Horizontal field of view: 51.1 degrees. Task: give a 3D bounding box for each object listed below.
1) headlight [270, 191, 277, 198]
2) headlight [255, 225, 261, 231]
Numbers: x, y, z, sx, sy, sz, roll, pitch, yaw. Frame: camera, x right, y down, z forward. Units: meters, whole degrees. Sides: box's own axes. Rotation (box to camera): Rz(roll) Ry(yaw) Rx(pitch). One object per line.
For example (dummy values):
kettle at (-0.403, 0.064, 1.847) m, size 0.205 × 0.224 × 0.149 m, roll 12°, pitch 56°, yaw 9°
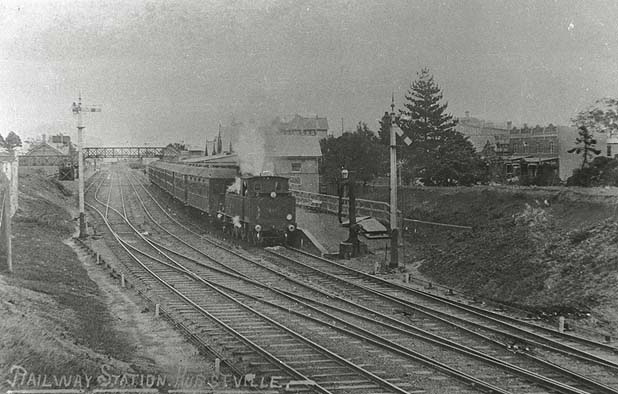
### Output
headlight at (-1.957, -0.135, 35.415) m, size 0.373 × 0.284 × 0.220 m, roll -12°, pitch 17°, yaw -40°
headlight at (-2.789, 1.648, 35.001) m, size 0.325 × 0.337 × 0.121 m, roll -2°, pitch -2°, yaw -11°
